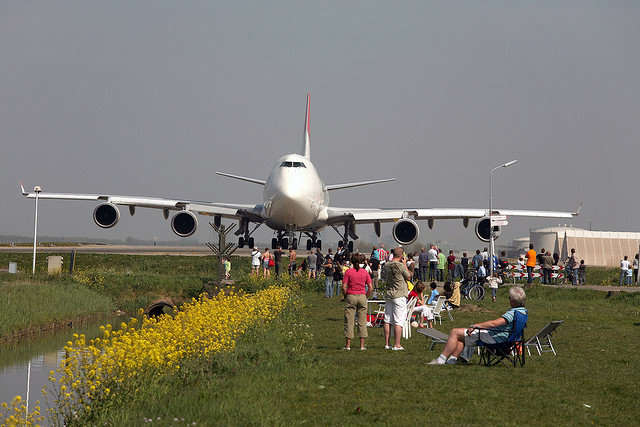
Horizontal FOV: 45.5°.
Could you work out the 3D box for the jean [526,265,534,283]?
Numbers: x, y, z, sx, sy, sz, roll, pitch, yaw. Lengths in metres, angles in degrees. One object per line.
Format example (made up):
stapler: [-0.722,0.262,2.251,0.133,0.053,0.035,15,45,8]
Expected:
jean: [10.369,2.981,37.822,0.329,0.930,0.849,0,3,16]

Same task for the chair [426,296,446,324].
chair: [4.066,3.167,25.969,0.724,1.141,0.739,0,-1,19]

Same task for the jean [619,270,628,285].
jean: [15.999,3.324,40.394,0.366,0.875,1.028,1,3,22]

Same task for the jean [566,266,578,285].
jean: [13.276,3.144,40.434,0.575,0.999,1.888,0,3,19]

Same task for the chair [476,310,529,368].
chair: [4.775,3.347,20.593,1.294,1.598,1.404,-4,-4,33]

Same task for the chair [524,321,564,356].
chair: [6.180,3.474,21.502,0.634,0.794,1.175,2,-10,-38]

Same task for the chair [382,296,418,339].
chair: [2.695,3.273,24.263,1.183,1.712,1.218,1,-5,-5]

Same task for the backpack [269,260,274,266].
backpack: [-2.536,2.544,39.870,0.210,0.304,0.305,0,13,0]

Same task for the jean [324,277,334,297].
jean: [0.405,3.207,33.847,0.258,0.851,0.601,0,3,19]

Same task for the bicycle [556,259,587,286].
bicycle: [13.183,3.074,40.689,2.415,1.512,1.192,6,-7,-41]
